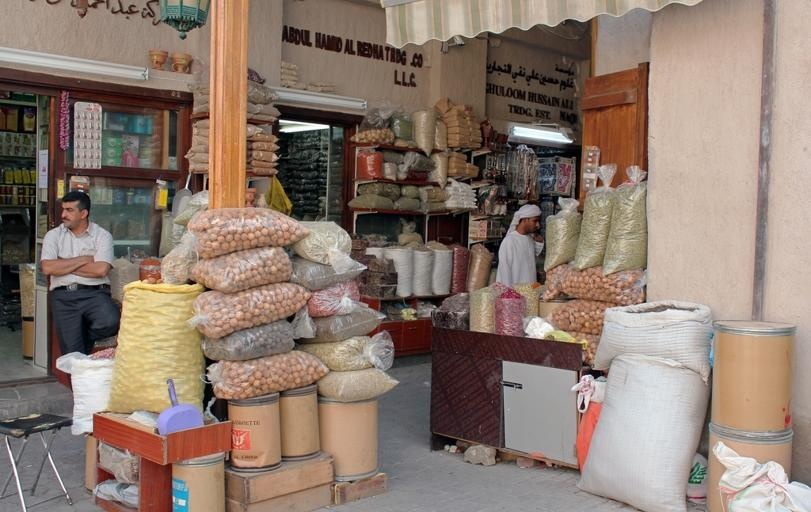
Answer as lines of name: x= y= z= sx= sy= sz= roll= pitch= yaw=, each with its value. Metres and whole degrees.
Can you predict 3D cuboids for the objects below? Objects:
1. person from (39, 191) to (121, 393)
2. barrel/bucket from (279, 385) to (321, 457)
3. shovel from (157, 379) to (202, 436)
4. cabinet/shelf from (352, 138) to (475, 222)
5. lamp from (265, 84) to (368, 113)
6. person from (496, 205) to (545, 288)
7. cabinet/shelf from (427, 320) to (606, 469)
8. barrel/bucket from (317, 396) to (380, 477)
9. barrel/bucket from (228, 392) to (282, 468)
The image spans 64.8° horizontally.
person: x=-3.355 y=0.336 z=6.616 sx=0.689 sy=1.858 sz=0.771 roll=0 pitch=1 yaw=-36
barrel/bucket: x=-0.784 y=1.221 z=4.823 sx=0.263 sy=0.512 sz=0.236 roll=0 pitch=-1 yaw=-13
shovel: x=-1.592 y=1.061 z=4.455 sx=0.281 sy=0.385 sz=0.165 roll=-15 pitch=-8 yaw=-38
cabinet/shelf: x=0.072 y=-1.051 z=9.109 sx=1.744 sy=0.957 sz=0.444 roll=0 pitch=6 yaw=-29
lamp: x=-1.099 y=-2.035 z=8.407 sx=1.414 sy=0.227 sz=0.110 roll=-1 pitch=7 yaw=-38
person: x=1.537 y=-0.169 z=8.471 sx=0.560 sy=1.045 sz=0.779 roll=4 pitch=5 yaw=10
cabinet/shelf: x=0.996 y=1.169 z=5.391 sx=1.337 sy=1.024 sz=0.512 roll=0 pitch=-3 yaw=37
barrel/bucket: x=-0.463 y=1.413 z=5.262 sx=0.594 sy=0.556 sz=0.571 roll=-1 pitch=-1 yaw=0
barrel/bucket: x=-1.107 y=1.271 z=4.607 sx=0.360 sy=0.523 sz=0.297 roll=-1 pitch=1 yaw=-11
